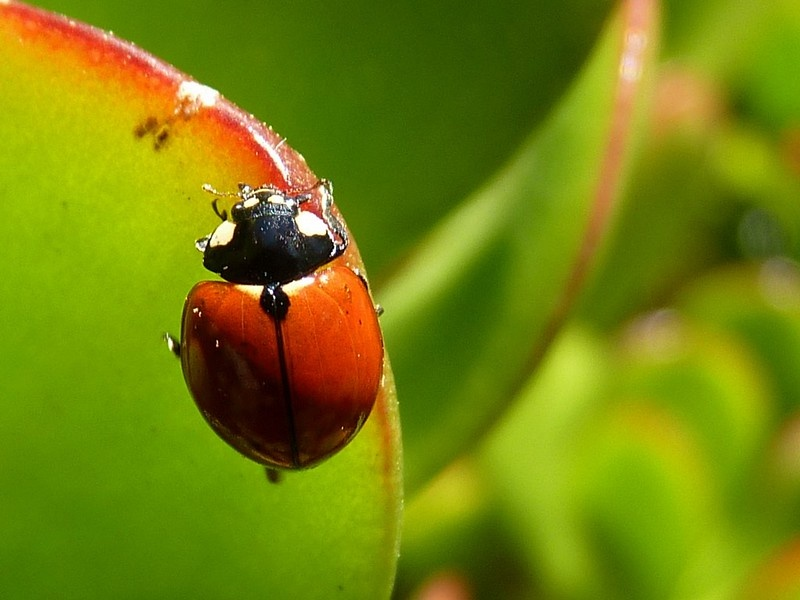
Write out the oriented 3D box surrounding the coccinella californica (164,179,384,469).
[{"bbox_3d":[-0.081,0.010,0.583,0.130,0.201,0.063,-4,-14,-9],"label":"coccinella californica"}]
